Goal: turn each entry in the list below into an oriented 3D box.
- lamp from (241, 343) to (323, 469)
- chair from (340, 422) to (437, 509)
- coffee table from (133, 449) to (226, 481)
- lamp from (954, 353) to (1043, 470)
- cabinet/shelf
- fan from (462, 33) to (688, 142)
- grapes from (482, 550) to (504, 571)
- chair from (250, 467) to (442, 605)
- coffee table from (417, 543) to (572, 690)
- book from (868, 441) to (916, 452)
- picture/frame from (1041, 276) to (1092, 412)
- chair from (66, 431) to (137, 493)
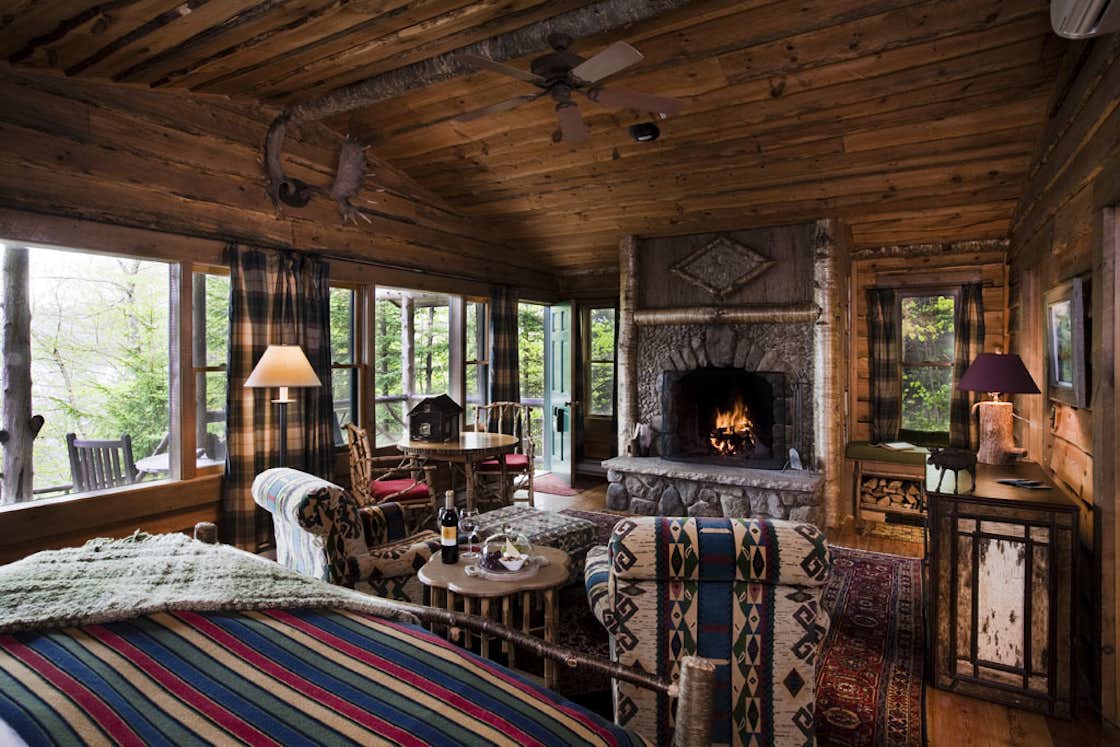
[{"bbox_3d":[-2.191,0.264,5.980,0.536,0.985,0.798,0,0,-20],"label":"lamp"},{"bbox_3d":[-1.466,0.891,6.542,0.866,0.745,0.655,5,4,-10],"label":"chair"},{"bbox_3d":[-3.179,0.770,6.405,0.760,0.121,0.646,-1,2,-23],"label":"coffee table"},{"bbox_3d":[3.103,0.247,5.461,0.452,0.769,0.994,0,0,26],"label":"lamp"},{"bbox_3d":[2.567,1.310,4.473,0.824,0.883,1.898,0,2,27],"label":"cabinet/shelf"},{"bbox_3d":[0.044,-1.839,4.692,1.425,0.315,1.184,2,-2,-9],"label":"fan"},{"bbox_3d":[-0.397,1.083,4.439,0.130,0.076,0.105,0,-2,5],"label":"grapes"},{"bbox_3d":[-1.507,1.021,4.953,1.136,0.693,1.127,-3,5,-41],"label":"chair"},{"bbox_3d":[-0.360,1.417,4.549,1.128,0.690,0.904,0,2,-4],"label":"coffee table"},{"bbox_3d":[3.117,0.684,7.128,0.333,0.056,0.353,0,0,7],"label":"book"},{"bbox_3d":[3.184,-0.193,4.808,0.098,0.909,1.219,-2,-1,23],"label":"picture/frame"},{"bbox_3d":[-3.617,0.711,6.010,0.454,0.471,0.909,0,0,-28],"label":"chair"}]
